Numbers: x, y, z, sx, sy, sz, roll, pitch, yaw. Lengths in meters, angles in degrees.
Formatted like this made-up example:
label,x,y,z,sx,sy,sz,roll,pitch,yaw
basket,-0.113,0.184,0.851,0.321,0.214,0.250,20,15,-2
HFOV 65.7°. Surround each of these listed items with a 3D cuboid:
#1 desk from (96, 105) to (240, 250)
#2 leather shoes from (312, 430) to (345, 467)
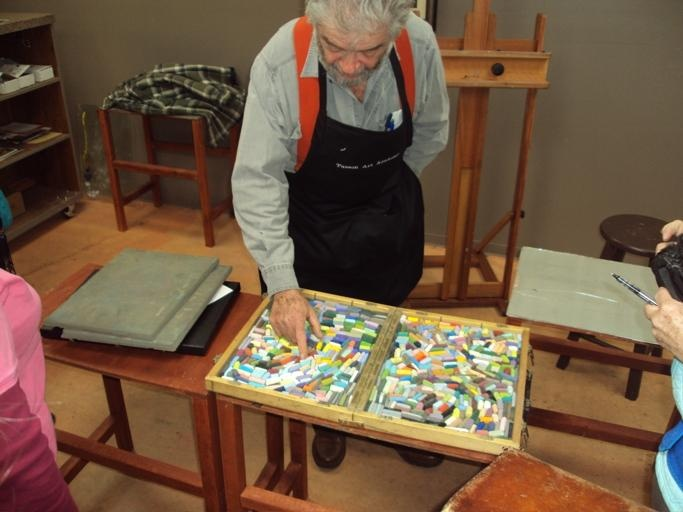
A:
label,x,y,z,sx,sy,sz,roll,pitch,yaw
desk,-1.313,-0.698,4.081,1.116,0.949,0.611,9,31,13
leather shoes,-0.060,0.896,2.456,0.138,0.197,0.070,1,8,4
